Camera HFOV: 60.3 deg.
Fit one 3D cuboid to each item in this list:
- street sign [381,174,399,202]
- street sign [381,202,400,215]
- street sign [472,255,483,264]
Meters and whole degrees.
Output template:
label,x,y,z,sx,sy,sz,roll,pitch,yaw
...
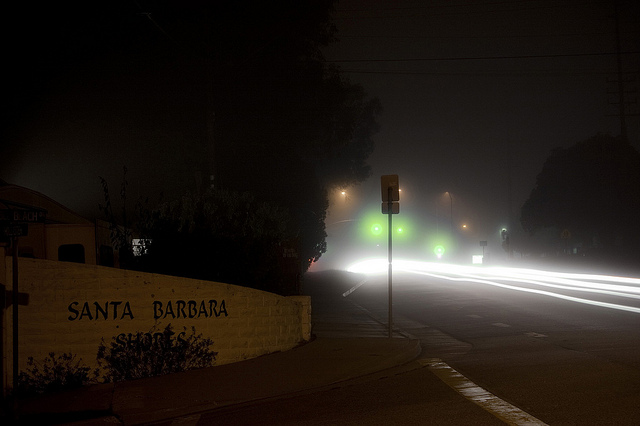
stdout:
label,x,y,z,sx,sy,sz,roll,pitch,yaw
street sign,2.095,-0.739,16.623,0.496,0.776,0.270,0,-2,1
street sign,2.160,-0.143,16.756,0.407,0.419,0.104,3,2,13
street sign,21.647,6.389,76.124,0.951,0.802,1.052,-1,-3,0
